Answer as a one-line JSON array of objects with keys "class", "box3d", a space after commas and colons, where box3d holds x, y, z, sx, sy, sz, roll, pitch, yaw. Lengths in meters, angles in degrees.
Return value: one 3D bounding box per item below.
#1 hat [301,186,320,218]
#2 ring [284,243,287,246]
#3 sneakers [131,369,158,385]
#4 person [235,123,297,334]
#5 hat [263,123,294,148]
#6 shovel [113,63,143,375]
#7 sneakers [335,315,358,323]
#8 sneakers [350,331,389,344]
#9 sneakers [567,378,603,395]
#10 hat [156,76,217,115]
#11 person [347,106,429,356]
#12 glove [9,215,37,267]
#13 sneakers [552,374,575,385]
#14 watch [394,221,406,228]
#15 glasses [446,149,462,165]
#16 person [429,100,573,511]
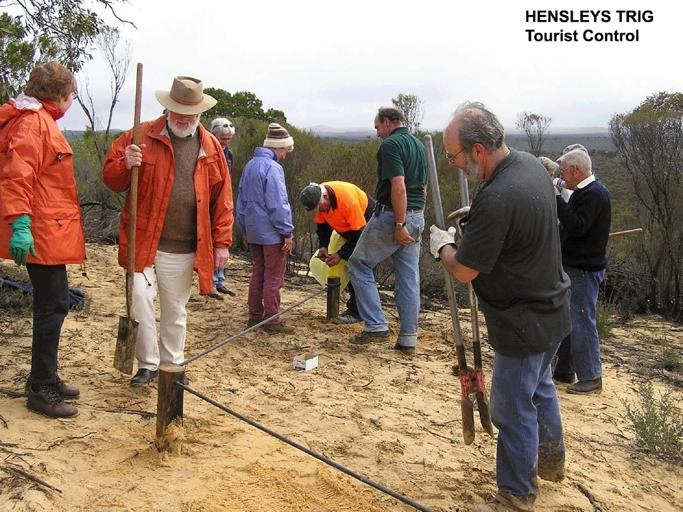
[{"class": "hat", "box3d": [-0.359, -0.693, 6.590, 0.238, 0.396, 0.352, 3, 5, -3]}, {"class": "ring", "box3d": [-0.679, -0.152, 6.625, 0.025, 0.028, 0.008, 4, -3, 7]}, {"class": "sneakers", "box3d": [-1.816, 1.107, 5.136, 0.123, 0.153, 0.333, 5, -4, 17]}, {"class": "person", "box3d": [-0.908, -0.391, 6.712, 0.676, 2.631, 0.982, 1, 6, -14]}, {"class": "hat", "box3d": [-0.796, -1.587, 6.955, 0.367, 0.311, 0.279, -10, 23, -32]}, {"class": "shovel", "box3d": [-1.871, -0.269, 4.761, 0.206, 2.829, 0.491, 0, 6, -23]}, {"class": "sneakers", "box3d": [0.085, 0.850, 7.359, 0.238, 0.128, 0.127, 0, -1, 6]}, {"class": "sneakers", "box3d": [0.350, 0.979, 6.714, 0.467, 0.251, 0.181, 1, 3, -12]}, {"class": "sneakers", "box3d": [2.659, 1.428, 6.003, 0.380, 0.194, 0.155, 3, -2, -6]}, {"class": "hat", "box3d": [-1.379, -1.491, 4.859, 0.528, 0.241, 0.593, 11, 27, -8]}, {"class": "person", "box3d": [0.628, -0.360, 6.506, 0.858, 2.918, 0.890, 3, 0, -37]}, {"class": "glove", "box3d": [-2.467, -0.137, 4.209, 0.170, 0.400, 0.242, -1, 7, -33]}, {"class": "sneakers", "box3d": [2.526, 1.375, 6.190, 0.292, 0.150, 0.099, 0, 2, -41]}, {"class": "watch", "box3d": [0.657, -0.361, 6.070, 0.063, 0.075, 0.063, -6, 1, 43]}, {"class": "glasses", "box3d": [0.802, -0.720, 3.914, 0.024, 0.096, 0.083, 2, 8, -23]}, {"class": "person", "box3d": [1.181, 0.380, 3.894, 1.054, 2.914, 0.535, 4, 6, 10]}]
